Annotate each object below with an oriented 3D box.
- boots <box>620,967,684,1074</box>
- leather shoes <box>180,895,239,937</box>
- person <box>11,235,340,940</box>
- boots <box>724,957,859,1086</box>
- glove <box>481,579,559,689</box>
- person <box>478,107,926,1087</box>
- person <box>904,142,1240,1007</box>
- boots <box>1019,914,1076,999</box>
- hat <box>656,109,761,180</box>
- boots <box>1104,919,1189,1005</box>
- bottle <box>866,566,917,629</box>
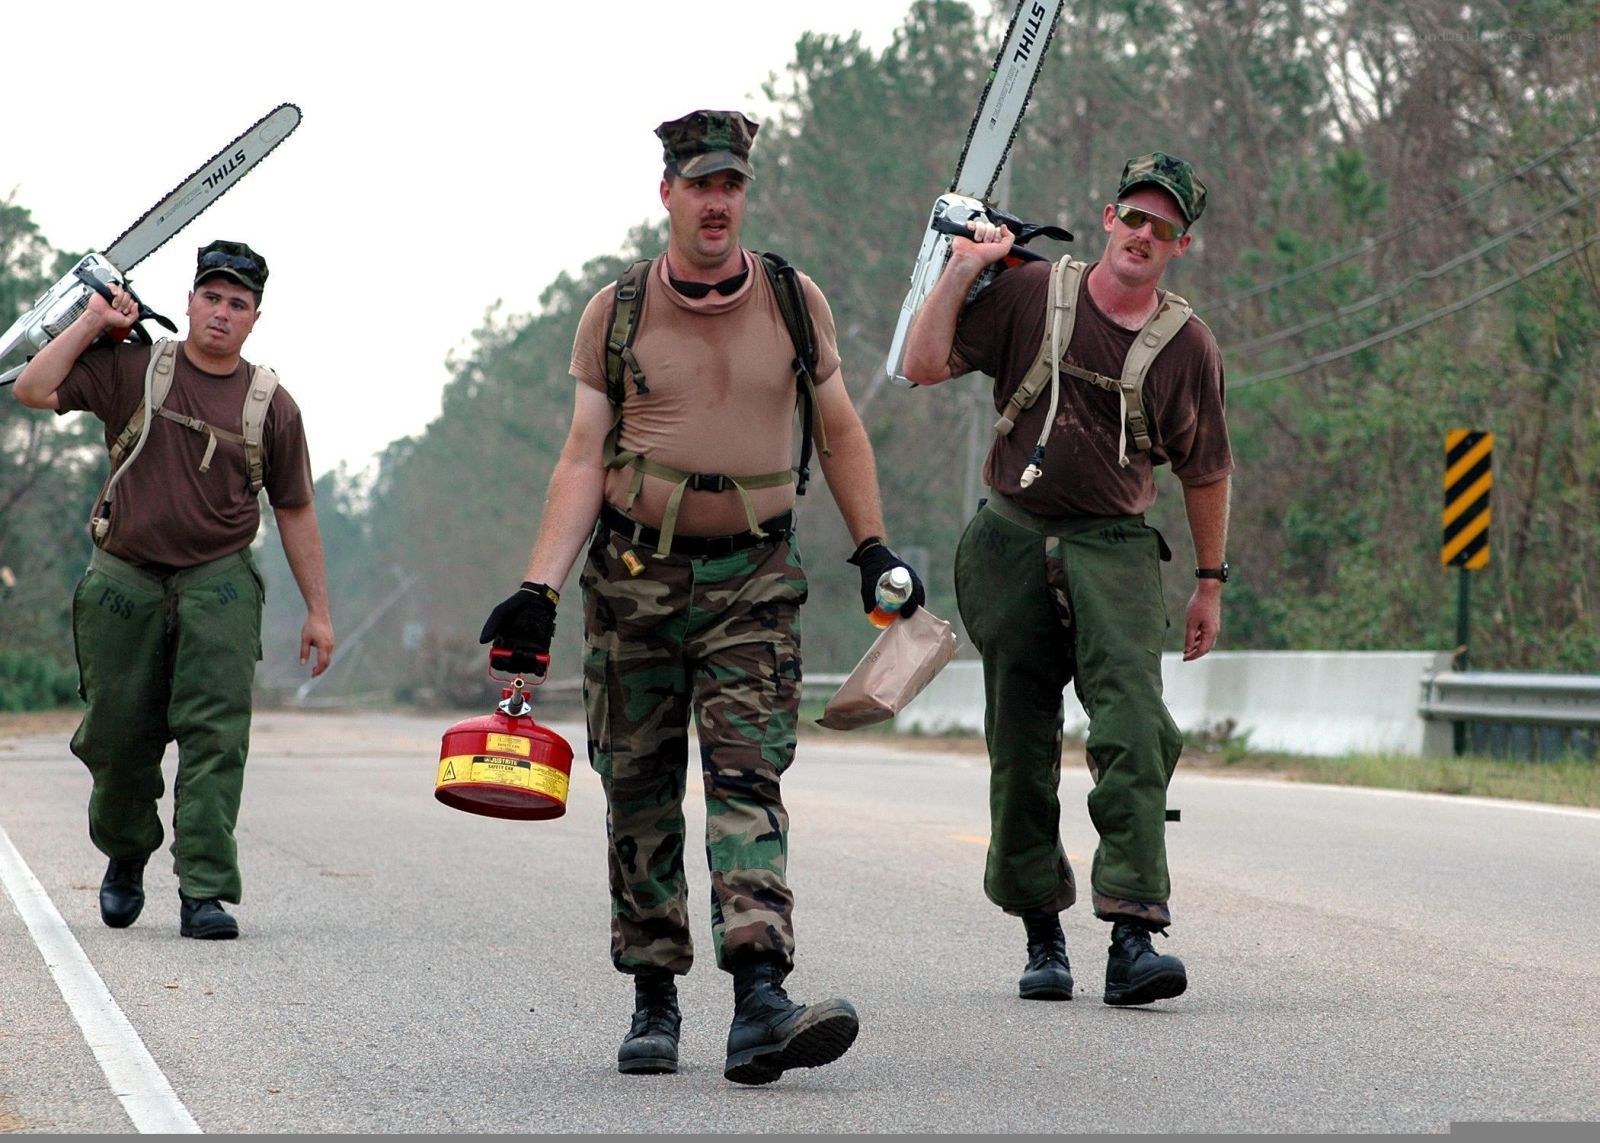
[{"bbox_3d":[-0.484,1.480,7.402,0.195,0.311,0.322,3,-4,-5],"label":"boots"},{"bbox_3d":[-2.394,1.431,9.251,0.109,0.151,0.322,7,-14,-32],"label":"leather shoes"},{"bbox_3d":[-2.565,0.058,9.425,1.164,2.881,0.514,3,-4,-11],"label":"person"},{"bbox_3d":[-0.023,1.365,7.088,0.486,0.419,0.198,-27,-46,30],"label":"boots"},{"bbox_3d":[-0.879,0.199,7.289,0.210,0.318,0.127,-2,9,-17],"label":"glove"},{"bbox_3d":[-0.322,0.043,7.408,1.202,3.188,0.767,2,-4,3],"label":"person"},{"bbox_3d":[1.021,0.008,8.383,1.098,3.154,0.569,1,-4,11],"label":"person"},{"bbox_3d":[0.917,1.416,8.401,0.124,0.286,0.386,-3,7,-11],"label":"boots"},{"bbox_3d":[-0.280,-1.416,7.403,0.329,0.269,0.352,3,-4,-11],"label":"hat"},{"bbox_3d":[1.222,1.401,8.020,0.135,0.298,0.283,5,-5,-32],"label":"boots"},{"bbox_3d":[0.309,0.081,7.551,0.092,0.100,0.159,18,-42,-3],"label":"bottle"}]
